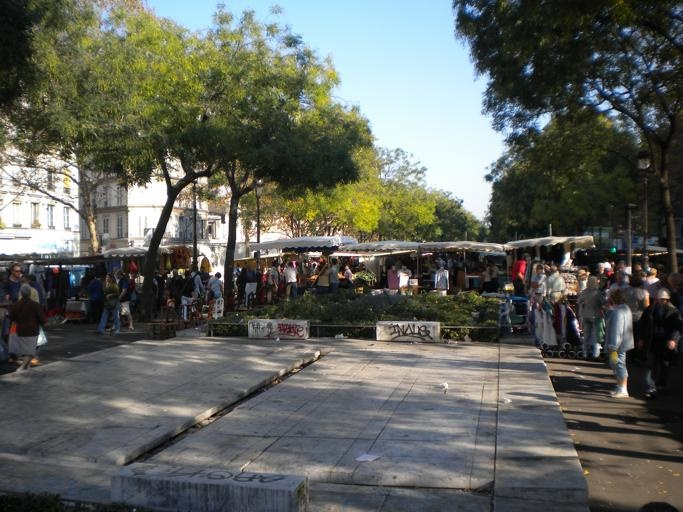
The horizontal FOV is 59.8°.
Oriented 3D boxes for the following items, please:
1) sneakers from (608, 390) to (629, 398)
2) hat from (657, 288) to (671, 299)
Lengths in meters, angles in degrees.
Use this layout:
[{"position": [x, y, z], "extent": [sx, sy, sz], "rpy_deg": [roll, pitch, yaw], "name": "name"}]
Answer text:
[{"position": [5.202, 2.562, 11.123], "extent": [0.339, 0.152, 0.130], "rpy_deg": [1, 2, 5], "name": "sneakers"}, {"position": [6.143, 0.711, 11.299], "extent": [0.204, 0.144, 0.279], "rpy_deg": [1, 0, 12], "name": "hat"}]
